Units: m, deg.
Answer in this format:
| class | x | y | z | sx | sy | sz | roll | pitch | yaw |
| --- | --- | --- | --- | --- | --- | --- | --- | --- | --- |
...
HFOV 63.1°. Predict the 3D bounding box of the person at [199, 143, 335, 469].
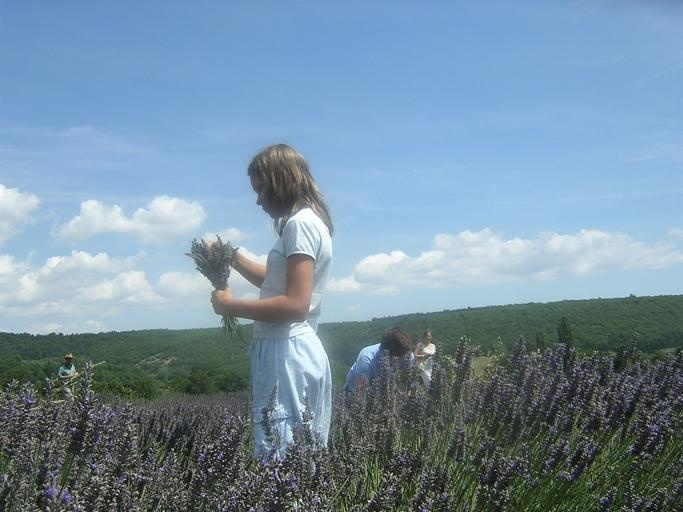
| class | x | y | z | sx | sy | sz | roll | pitch | yaw |
| --- | --- | --- | --- | --- | --- | --- | --- | --- | --- |
| person | -0.390 | 0.201 | 3.025 | 0.685 | 1.749 | 1.370 | 1 | -3 | -2 |
